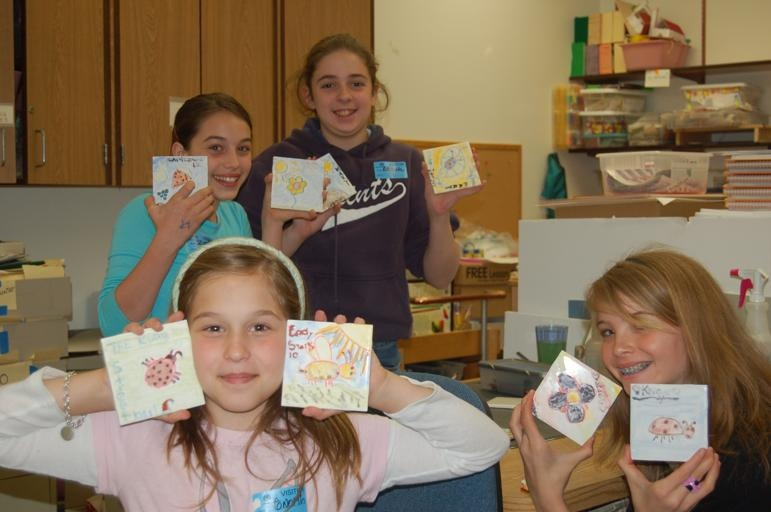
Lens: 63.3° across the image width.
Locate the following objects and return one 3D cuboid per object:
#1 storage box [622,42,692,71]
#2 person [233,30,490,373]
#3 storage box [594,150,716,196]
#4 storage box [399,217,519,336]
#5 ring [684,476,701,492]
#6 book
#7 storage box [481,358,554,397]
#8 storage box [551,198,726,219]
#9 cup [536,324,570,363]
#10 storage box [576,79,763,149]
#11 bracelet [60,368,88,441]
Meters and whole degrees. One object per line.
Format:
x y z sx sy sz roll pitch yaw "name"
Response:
2.301 -1.713 5.341 0.372 0.190 0.537 0 0 36 "storage box"
-0.117 0.192 2.709 0.918 2.053 0.805 0 13 -6 "person"
1.384 -0.423 3.180 0.544 0.232 0.567 0 5 19 "storage box"
0.470 0.210 4.902 1.096 1.050 0.764 -2 1 -39 "storage box"
0.904 0.679 1.849 0.043 0.044 0.016 -42 10 13 "ring"
1.931 -1.942 5.693 0.131 0.624 0.613 -4 5 -27 "book"
0.582 0.519 2.784 0.244 0.085 0.171 1 2 43 "storage box"
1.149 -0.231 2.940 0.755 0.100 0.261 1 6 32 "storage box"
0.732 0.402 2.853 0.165 0.190 0.163 1 -7 0 "cup"
2.459 -1.200 5.268 0.696 0.604 1.448 -6 6 -41 "storage box"
-0.855 0.417 1.719 0.099 0.156 0.034 14 18 43 "bracelet"
